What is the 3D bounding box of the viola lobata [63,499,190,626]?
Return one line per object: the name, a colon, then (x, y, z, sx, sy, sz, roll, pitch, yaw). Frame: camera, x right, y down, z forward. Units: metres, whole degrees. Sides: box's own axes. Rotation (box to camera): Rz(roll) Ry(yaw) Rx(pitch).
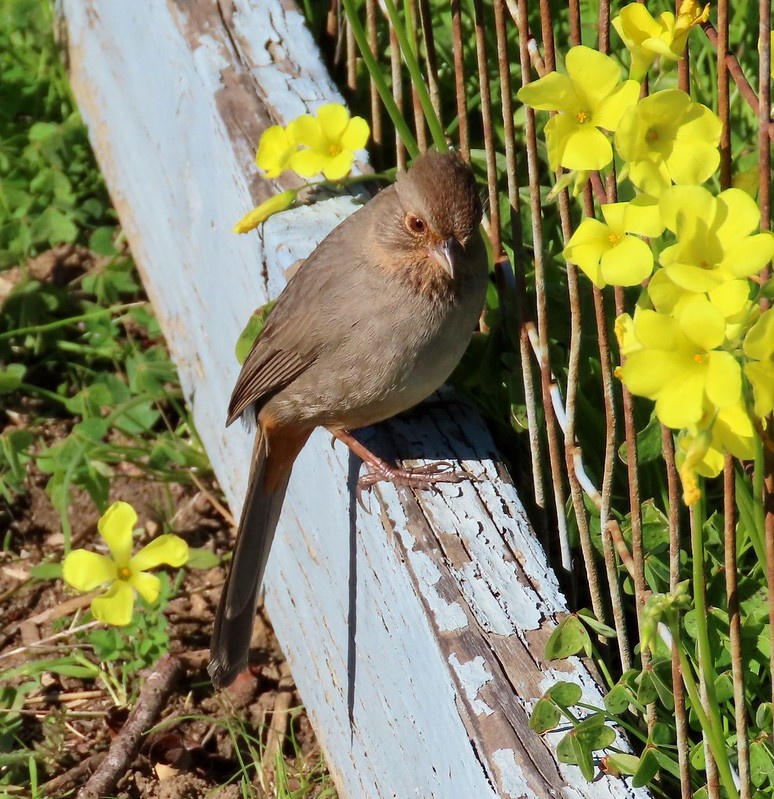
viola lobata: (-0.824, 0.519, 3.156, 0.431, 0.189, 0.442, -28, 34, -14)
